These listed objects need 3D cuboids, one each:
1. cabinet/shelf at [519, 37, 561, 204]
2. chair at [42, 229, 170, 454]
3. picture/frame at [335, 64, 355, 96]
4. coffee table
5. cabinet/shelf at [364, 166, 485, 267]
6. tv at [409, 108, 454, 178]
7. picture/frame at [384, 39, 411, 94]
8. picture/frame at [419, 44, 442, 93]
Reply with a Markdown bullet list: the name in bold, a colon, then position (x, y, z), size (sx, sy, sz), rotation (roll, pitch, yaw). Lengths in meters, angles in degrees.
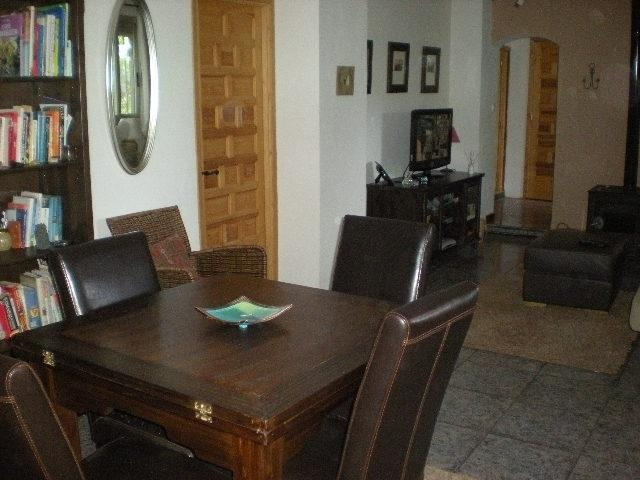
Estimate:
- **cabinet/shelf**: position (4.028, -2.161, 9.456), size (0.582, 2.860, 0.391), rotation (5, 13, 21)
- **chair**: position (-0.911, 0.368, 2.437), size (0.537, 0.681, 0.541), rotation (13, 39, 15)
- **picture/frame**: position (0.218, -1.464, 4.734), size (0.030, 0.278, 0.286), rotation (7, 14, 34)
- **coffee table**: position (2.283, 0.238, 4.680), size (0.657, 0.473, 0.941), rotation (5, 17, 25)
- **cabinet/shelf**: position (1.427, -0.259, 6.577), size (0.652, 1.077, 2.020), rotation (9, 16, 37)
- **tv**: position (1.355, -1.195, 6.362), size (0.228, 0.635, 0.891), rotation (5, 13, 30)
- **picture/frame**: position (0.934, -2.127, 6.323), size (0.050, 0.754, 0.638), rotation (6, 14, 32)
- **picture/frame**: position (1.457, -2.289, 6.892), size (0.059, 0.774, 0.620), rotation (6, 12, 34)
